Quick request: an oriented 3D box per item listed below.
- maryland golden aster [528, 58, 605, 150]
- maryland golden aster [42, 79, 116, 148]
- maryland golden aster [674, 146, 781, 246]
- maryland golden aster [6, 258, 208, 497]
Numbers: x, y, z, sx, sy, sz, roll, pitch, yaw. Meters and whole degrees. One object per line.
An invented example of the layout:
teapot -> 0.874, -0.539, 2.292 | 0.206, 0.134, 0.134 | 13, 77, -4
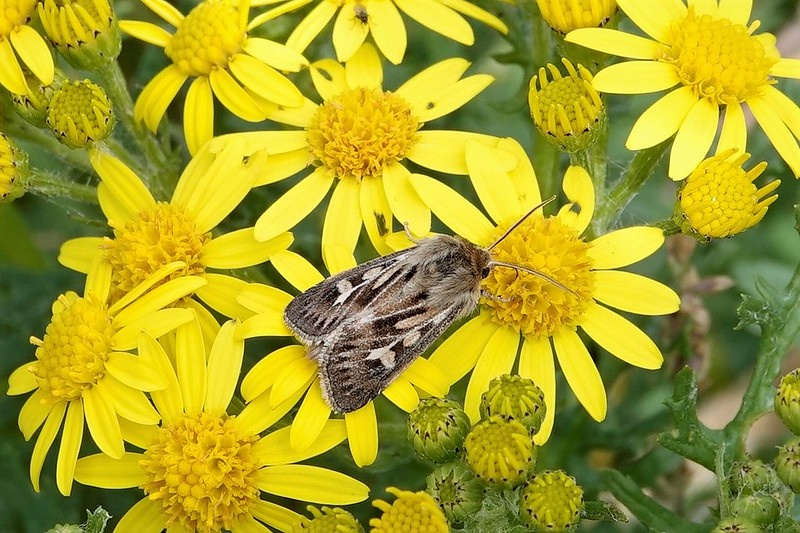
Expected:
maryland golden aster -> 0.666, -0.663, 3.254 | 0.278, 0.257, 0.365 | 8, 43, 25
maryland golden aster -> -1.289, -0.616, 3.228 | 0.220, 0.161, 0.289 | 3, 83, -18
maryland golden aster -> 1.243, -0.274, 3.119 | 0.318, 0.181, 0.291 | -23, 82, -6
maryland golden aster -> -1.069, 0.418, 3.206 | 0.813, 0.294, 0.861 | -38, 58, 21
